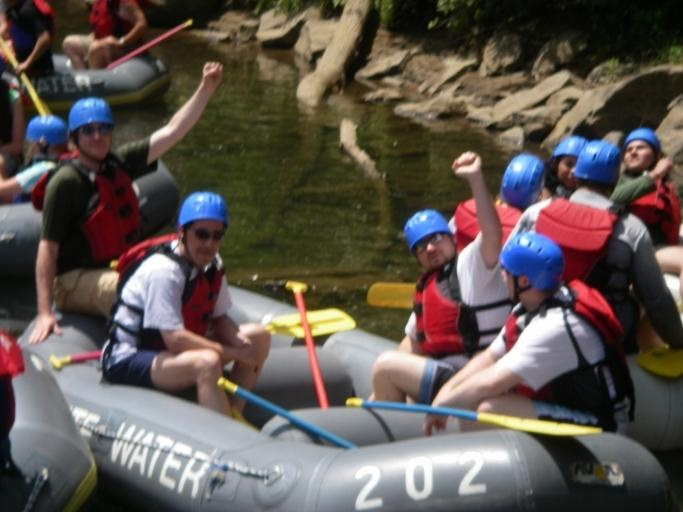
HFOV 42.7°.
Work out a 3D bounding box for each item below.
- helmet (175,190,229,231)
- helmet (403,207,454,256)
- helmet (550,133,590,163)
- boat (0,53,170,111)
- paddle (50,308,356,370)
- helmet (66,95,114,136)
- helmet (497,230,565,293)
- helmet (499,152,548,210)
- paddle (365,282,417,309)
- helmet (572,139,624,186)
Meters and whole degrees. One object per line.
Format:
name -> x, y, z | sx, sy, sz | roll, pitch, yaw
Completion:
helmet -> -0.779, -0.246, 4.920 | 0.269, 0.225, 0.184 | 7, 17, -1
helmet -> 0.488, -0.139, 5.067 | 0.192, 0.219, 0.270 | -31, -2, 6
helmet -> 1.484, -0.720, 5.734 | 0.141, 0.194, 0.201 | 21, -10, 23
boat -> -2.756, -1.983, 10.016 | 1.106, 0.422, 0.795 | -1, 28, -38
paddle -> -0.542, 0.454, 5.613 | 1.195, 0.252, 0.667 | -9, 9, -39
helmet -> -1.584, -0.874, 5.464 | 0.192, 0.240, 0.247 | -9, 18, -33
helmet -> 0.964, 0.039, 4.526 | 0.222, 0.340, 0.236 | -20, 2, -29
helmet -> 1.194, -0.516, 5.643 | 0.227, 0.353, 0.321 | 23, -24, 17
paddle -> 0.331, 0.267, 5.806 | 0.406, 0.165, 0.043 | -4, 10, -6
helmet -> 1.498, -0.563, 5.144 | 0.186, 0.248, 0.277 | 9, -22, 28
